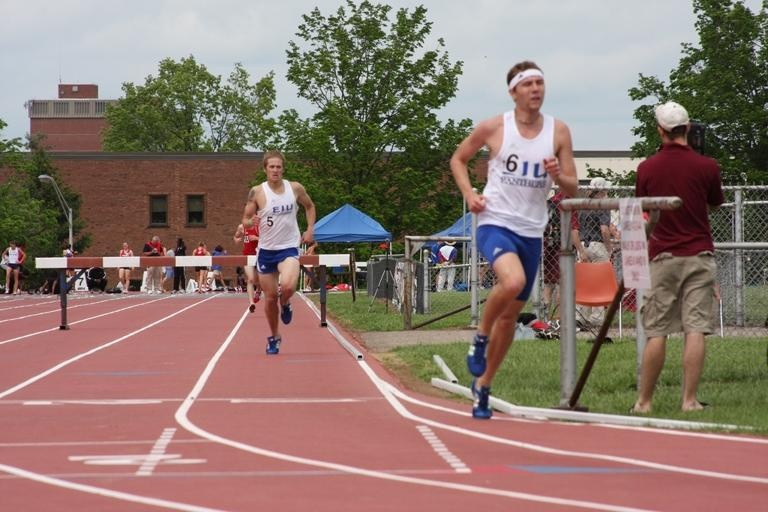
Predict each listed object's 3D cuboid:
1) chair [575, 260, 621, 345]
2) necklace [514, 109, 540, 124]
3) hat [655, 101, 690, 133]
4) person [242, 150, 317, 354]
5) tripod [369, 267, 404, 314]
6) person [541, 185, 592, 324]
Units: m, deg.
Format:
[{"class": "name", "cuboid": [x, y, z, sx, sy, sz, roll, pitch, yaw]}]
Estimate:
[{"class": "chair", "cuboid": [2.940, 0.612, 15.539, 0.822, 0.899, 0.807, -8, 14, -27]}, {"class": "necklace", "cuboid": [1.394, -1.356, 10.685, 0.185, 0.084, 0.209, 1, -2, -13]}, {"class": "hat", "cuboid": [3.005, -1.468, 11.534, 0.288, 0.162, 0.398, -2, 33, 3]}, {"class": "person", "cuboid": [-1.442, -0.037, 14.860, 1.064, 2.613, 1.241, 0, -1, -7]}, {"class": "tripod", "cuboid": [0.056, 0.658, 22.110, 0.848, 1.149, 0.975, 1, 2, 10]}, {"class": "person", "cuboid": [2.575, -0.041, 16.810, 0.953, 2.261, 0.893, 0, -1, -26]}]
